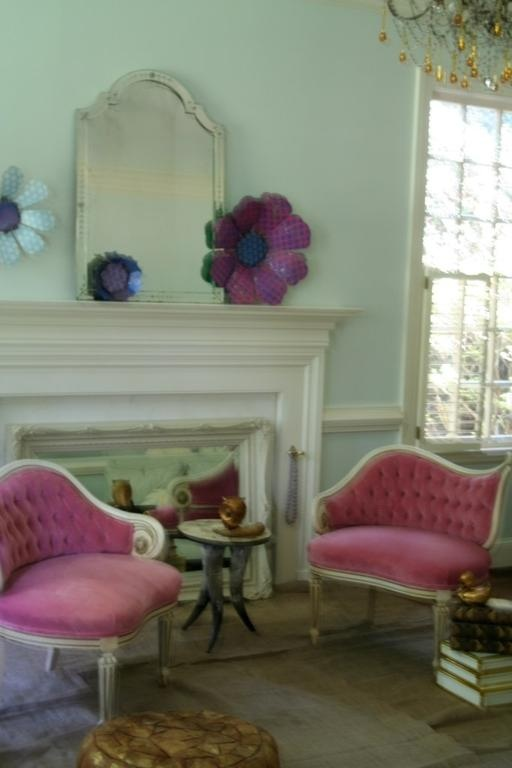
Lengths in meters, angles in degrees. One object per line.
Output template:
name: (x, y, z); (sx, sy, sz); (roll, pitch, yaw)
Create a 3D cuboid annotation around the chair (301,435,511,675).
chair: (0.610, 0.582, 3.206); (0.944, 1.020, 0.777); (4, 6, 33)

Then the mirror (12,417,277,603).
mirror: (-0.466, 0.496, 3.016); (0.975, 0.617, 0.072); (-1, 2, -26)

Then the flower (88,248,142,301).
flower: (-0.595, -0.458, 3.248); (0.231, 0.209, 0.055); (0, 5, -36)
